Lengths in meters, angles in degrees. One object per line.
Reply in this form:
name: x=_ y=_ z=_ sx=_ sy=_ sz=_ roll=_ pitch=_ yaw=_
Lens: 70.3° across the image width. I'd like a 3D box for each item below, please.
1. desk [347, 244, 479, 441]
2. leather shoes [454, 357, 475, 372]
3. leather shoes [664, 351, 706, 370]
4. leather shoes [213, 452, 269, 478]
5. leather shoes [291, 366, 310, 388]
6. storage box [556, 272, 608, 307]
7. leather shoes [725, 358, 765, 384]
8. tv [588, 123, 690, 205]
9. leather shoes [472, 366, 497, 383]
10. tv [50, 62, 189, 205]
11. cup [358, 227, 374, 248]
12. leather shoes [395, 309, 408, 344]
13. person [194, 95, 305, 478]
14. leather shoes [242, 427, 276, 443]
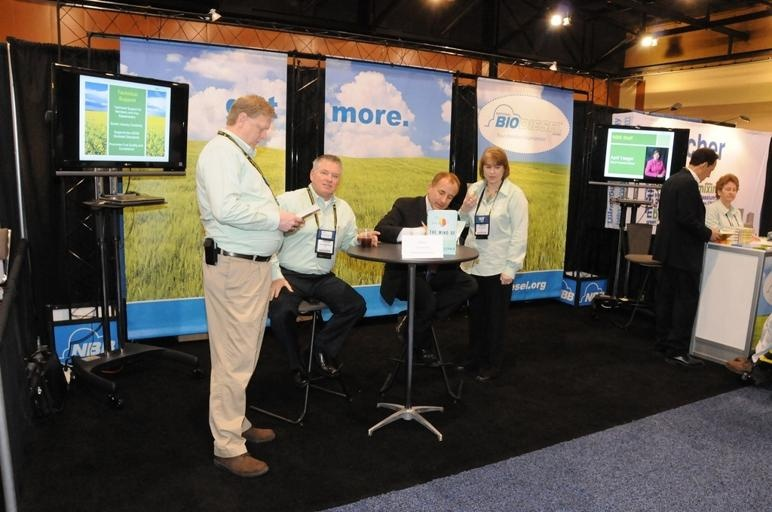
desk: x=0.191 y=0.639 z=4.140 sx=0.982 sy=1.256 sz=0.982 roll=2 pitch=1 yaw=30
leather shoes: x=0.731 y=0.989 z=4.998 sx=0.158 sy=0.102 sz=0.165 roll=-2 pitch=-2 yaw=10
leather shoes: x=2.836 y=0.978 z=5.196 sx=0.298 sy=0.155 sz=0.144 roll=-1 pitch=1 yaw=19
leather shoes: x=-0.958 y=1.369 z=3.611 sx=0.296 sy=0.143 sz=0.151 roll=3 pitch=7 yaw=6
leather shoes: x=-0.676 y=0.974 z=4.359 sx=0.102 sy=0.090 sz=0.202 roll=3 pitch=-6 yaw=-29
storage box: x=2.420 y=0.402 z=6.747 sx=0.451 sy=0.300 sz=0.466 roll=-3 pitch=12 yaw=-18
leather shoes: x=3.196 y=1.007 z=4.868 sx=0.234 sy=0.158 sz=0.110 roll=15 pitch=46 yaw=42
tv: x=2.851 y=-1.058 z=6.148 sx=1.022 sy=0.750 sz=0.076 roll=3 pitch=1 yaw=5
leather shoes: x=0.861 y=1.036 z=4.792 sx=0.221 sy=0.100 sz=0.088 roll=5 pitch=1 yaw=-37
tv: x=-2.107 y=-1.003 z=4.322 sx=1.276 sy=0.988 sz=0.134 roll=-2 pitch=3 yaw=-42
cup: x=-0.151 y=-0.138 z=4.197 sx=0.126 sy=0.144 sz=0.123 roll=1 pitch=9 yaw=0
leather shoes: x=0.139 y=0.558 z=4.509 sx=0.151 sy=0.219 sz=0.074 roll=18 pitch=-35 yaw=-36
person: x=-0.909 y=0.200 z=3.591 sx=0.561 sy=2.454 sz=0.452 roll=-4 pitch=11 yaw=-21
leather shoes: x=-0.902 y=1.281 z=3.901 sx=0.180 sy=0.076 sz=0.105 roll=0 pitch=10 yaw=0
